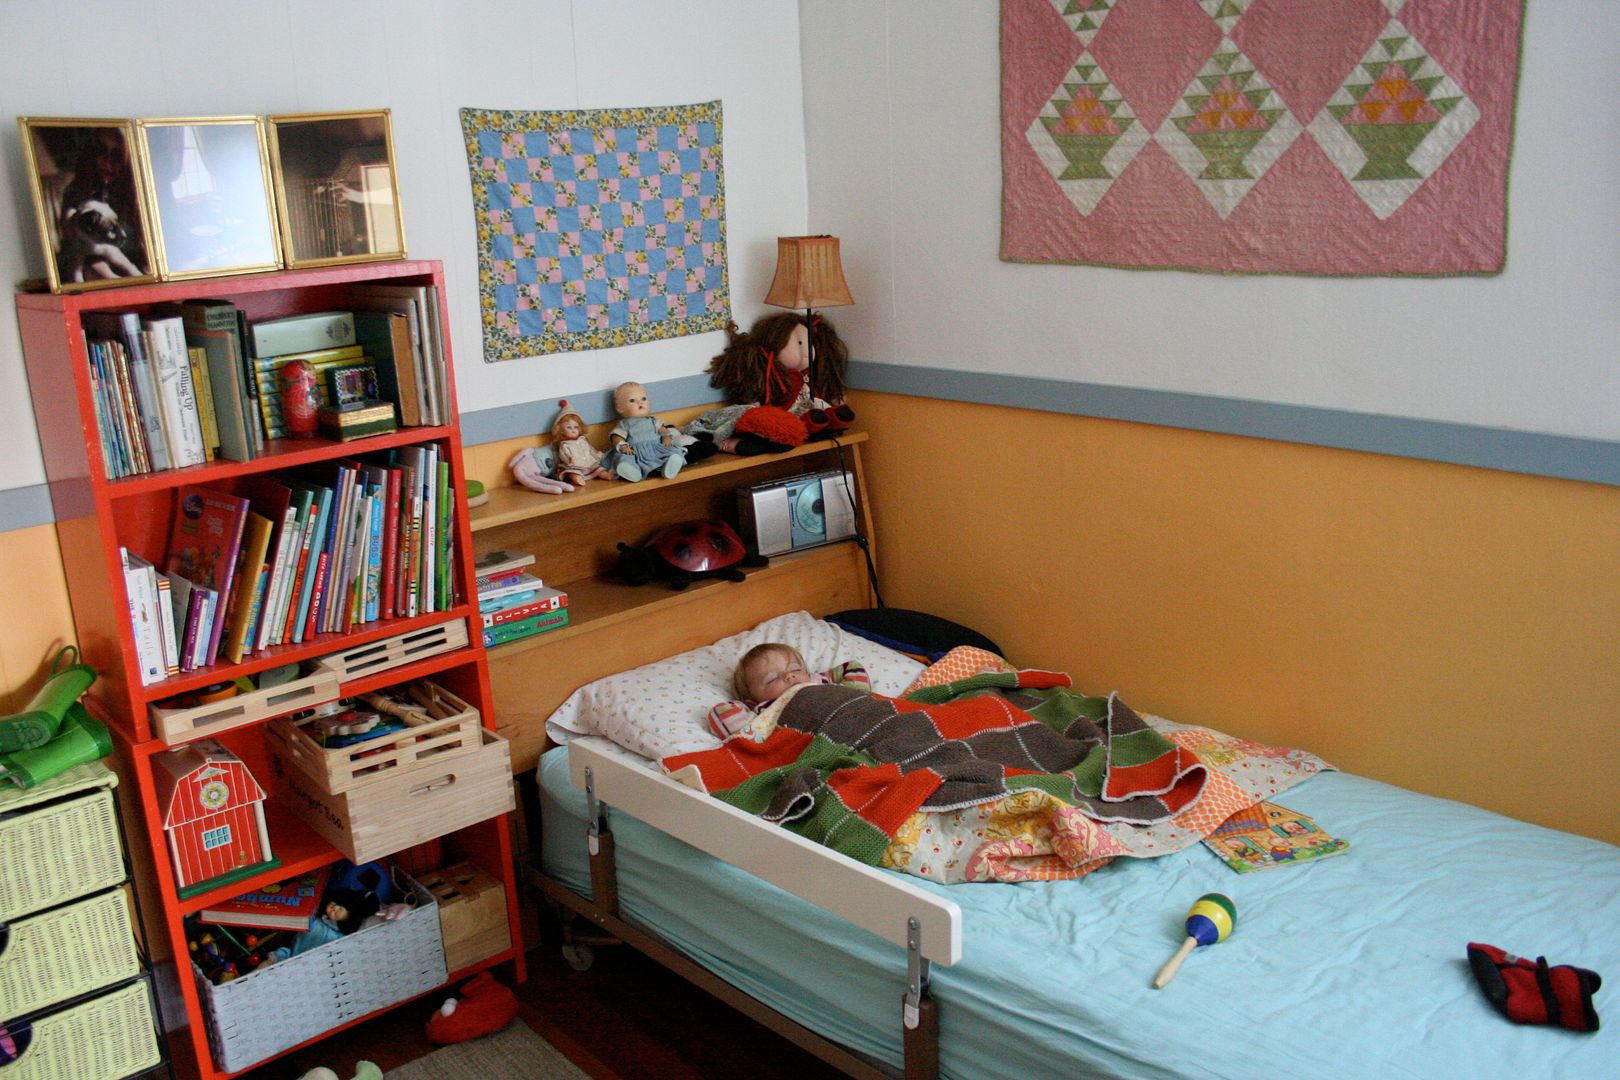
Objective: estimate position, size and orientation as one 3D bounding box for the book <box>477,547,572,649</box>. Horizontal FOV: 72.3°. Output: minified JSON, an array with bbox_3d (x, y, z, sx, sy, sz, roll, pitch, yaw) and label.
[{"bbox_3d":[-0.861,0.172,3.230,0.253,0.058,0.252,24,31,34],"label":"book"}]

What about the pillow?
[{"bbox_3d":[-0.324,0.434,3.246,0.551,0.134,0.583,12,28,40],"label":"pillow"}]

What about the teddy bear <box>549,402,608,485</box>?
[{"bbox_3d":[-0.726,-0.302,3.433,0.183,0.247,0.153,9,20,26],"label":"teddy bear"}]

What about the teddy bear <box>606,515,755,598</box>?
[{"bbox_3d":[-0.400,0.003,3.714,0.441,0.139,0.434,-2,21,-12],"label":"teddy bear"}]

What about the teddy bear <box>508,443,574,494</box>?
[{"bbox_3d":[-0.817,-0.215,3.386,0.183,0.077,0.157,20,33,23],"label":"teddy bear"}]

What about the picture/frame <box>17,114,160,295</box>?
[{"bbox_3d":[-1.607,-0.765,2.491,0.215,0.353,0.092,-13,21,-25],"label":"picture/frame"}]

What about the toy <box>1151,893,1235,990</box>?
[{"bbox_3d":[0.818,0.872,2.389,0.100,0.096,0.311,26,34,35],"label":"toy"}]

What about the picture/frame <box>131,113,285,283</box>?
[{"bbox_3d":[-1.423,-0.809,2.607,0.348,0.439,0.048,-17,15,-36],"label":"picture/frame"}]

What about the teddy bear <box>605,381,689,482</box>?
[{"bbox_3d":[-0.531,-0.353,3.487,0.260,0.288,0.264,-21,28,-36],"label":"teddy bear"}]

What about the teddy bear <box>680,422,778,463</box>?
[{"bbox_3d":[-0.284,-0.331,3.620,0.197,0.067,0.195,-10,22,-26],"label":"teddy bear"}]

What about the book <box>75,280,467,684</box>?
[{"bbox_3d":[-1.341,-0.146,2.705,0.310,0.833,0.882,13,22,41],"label":"book"}]
